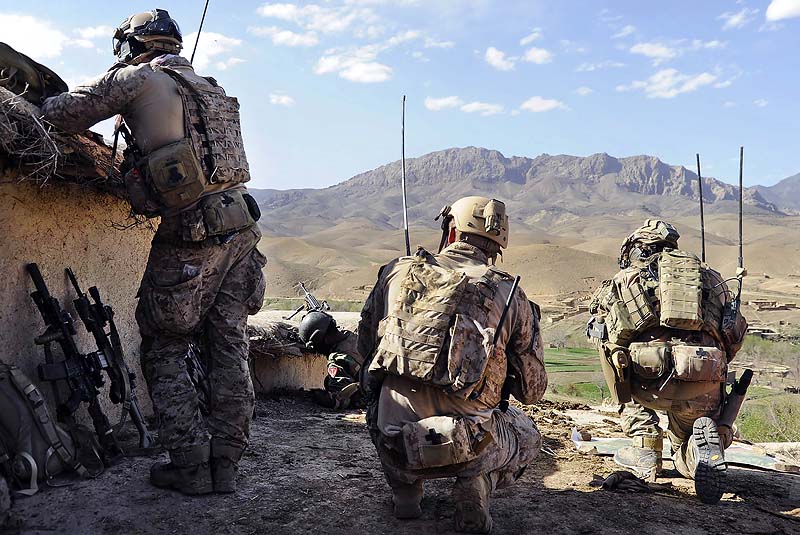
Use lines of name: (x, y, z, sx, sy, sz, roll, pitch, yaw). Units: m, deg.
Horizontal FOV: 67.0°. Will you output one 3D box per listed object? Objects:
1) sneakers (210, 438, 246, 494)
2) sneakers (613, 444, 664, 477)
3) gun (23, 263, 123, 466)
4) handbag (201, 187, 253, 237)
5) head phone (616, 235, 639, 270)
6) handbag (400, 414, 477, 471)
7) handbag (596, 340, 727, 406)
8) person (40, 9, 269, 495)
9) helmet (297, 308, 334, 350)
sneakers: (-1.330, 1.507, 4.668, 0.165, 0.450, 0.215, 4, -9, -11)
sneakers: (2.392, 1.912, 6.088, 0.208, 0.209, 0.477, 9, 5, -41)
gun: (-2.664, 0.793, 4.862, 0.551, 1.592, 0.199, -28, -1, -35)
handbag: (-1.381, -0.417, 4.762, 0.378, 0.359, 0.130, -18, -2, -39)
head phone: (2.515, -0.173, 6.691, 0.141, 0.335, 0.265, 13, 7, 8)
handbag: (0.309, 1.265, 4.406, 0.517, 0.349, 0.374, -16, 9, 18)
handbag: (2.525, 0.994, 5.783, 0.867, 0.385, 0.674, 0, -3, 7)
person: (-1.771, -0.197, 4.786, 1.350, 3.841, 0.718, 3, -1, -10)
helmet: (-1.048, 0.758, 7.761, 0.396, 0.449, 0.485, -37, 17, -4)
